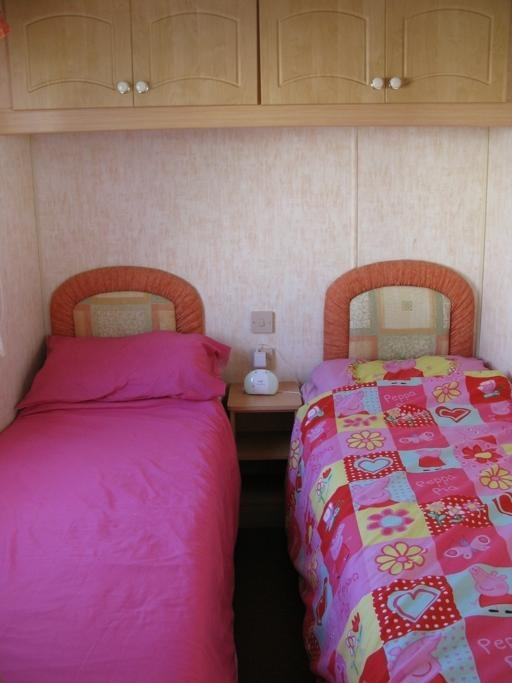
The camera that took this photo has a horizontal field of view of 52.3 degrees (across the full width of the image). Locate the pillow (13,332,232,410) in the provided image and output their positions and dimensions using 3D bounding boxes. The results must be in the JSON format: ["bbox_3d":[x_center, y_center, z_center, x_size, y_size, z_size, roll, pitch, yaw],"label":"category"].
[{"bbox_3d":[-0.520,0.118,2.144,0.603,0.132,0.391,3,37,-2],"label":"pillow"}]

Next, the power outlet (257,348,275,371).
[{"bbox_3d":[0.037,0.090,2.508,0.065,0.113,0.108,6,13,34],"label":"power outlet"}]

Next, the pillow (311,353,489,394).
[{"bbox_3d":[0.544,0.112,2.232,0.473,0.117,0.300,-4,19,-1],"label":"pillow"}]
